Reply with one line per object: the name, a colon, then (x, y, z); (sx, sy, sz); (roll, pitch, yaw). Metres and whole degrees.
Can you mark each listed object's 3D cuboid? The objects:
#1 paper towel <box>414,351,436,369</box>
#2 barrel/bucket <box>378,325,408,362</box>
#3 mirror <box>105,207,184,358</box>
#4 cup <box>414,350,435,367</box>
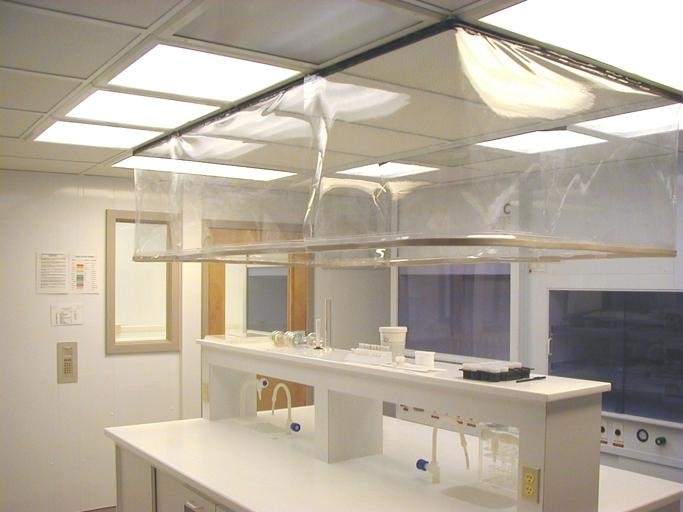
paper towel: (0.395, 0.483, 2.456); (0.079, 0.077, 0.080); (2, 0, 13)
barrel/bucket: (0.268, 0.435, 2.685); (0.150, 0.146, 0.151); (0, -5, 0)
mirror: (-2.290, 0.269, 5.981); (0.636, 1.522, 3.073); (0, -2, -22)
cup: (0.396, 0.479, 2.458); (0.076, 0.073, 0.076); (1, -3, 0)
